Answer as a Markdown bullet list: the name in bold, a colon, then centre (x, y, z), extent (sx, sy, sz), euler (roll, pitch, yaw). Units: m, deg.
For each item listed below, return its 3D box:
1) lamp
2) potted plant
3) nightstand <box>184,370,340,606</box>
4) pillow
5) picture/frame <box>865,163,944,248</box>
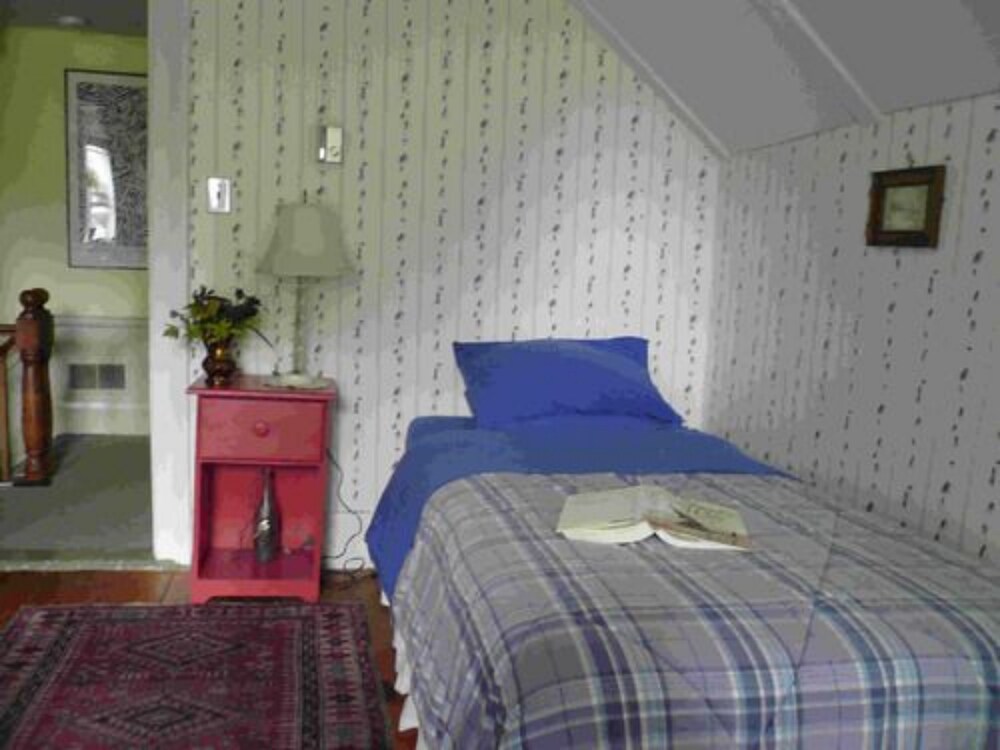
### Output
- **lamp**: centre (-0.792, -0.365, 3.180), extent (0.397, 0.754, 0.396), euler (2, 11, -13)
- **potted plant**: centre (-1.112, -0.195, 3.280), extent (0.450, 0.402, 0.440), euler (6, 11, 31)
- **nightstand**: centre (-0.965, 0.443, 3.154), extent (0.561, 0.863, 0.496), euler (1, 11, -17)
- **pillow**: centre (0.258, 0.032, 3.087), extent (0.594, 0.143, 0.460), euler (2, 40, -15)
- **picture/frame**: centre (1.307, -0.549, 2.511), extent (0.035, 0.238, 0.286), euler (-9, 14, -18)
